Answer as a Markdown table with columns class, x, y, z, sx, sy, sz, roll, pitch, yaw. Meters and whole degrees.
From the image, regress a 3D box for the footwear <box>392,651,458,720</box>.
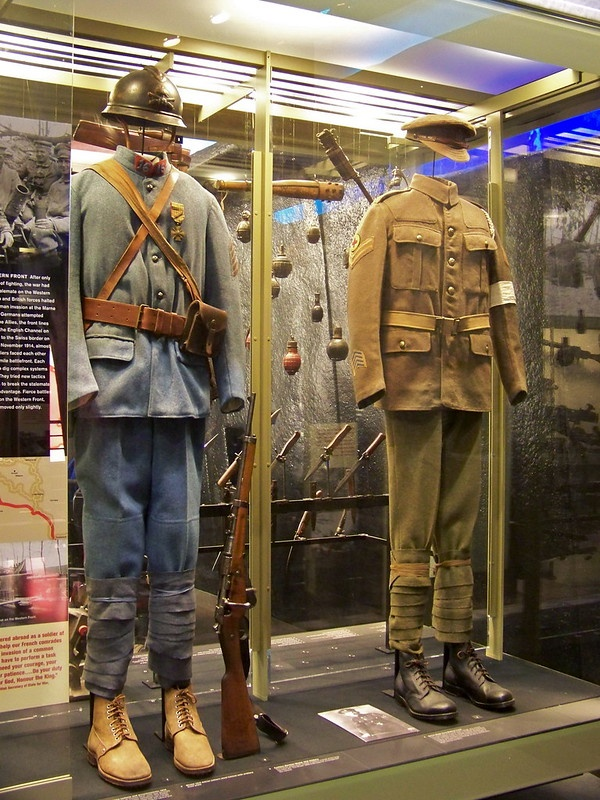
| class | x | y | z | sx | sy | sz | roll | pitch | yaw |
| --- | --- | --- | --- | --- | --- | --- | --- | --- | --- |
| footwear | 0.332 | 0.768 | 1.824 | 0.116 | 0.156 | 0.285 | 0 | -10 | -17 |

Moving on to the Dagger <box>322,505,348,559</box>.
| class | x | y | z | sx | sy | sz | roll | pitch | yaw |
| --- | --- | --- | --- | --- | --- | --- | --- | --- | --- |
| Dagger | 0.138 | 0.430 | 2.161 | 0.031 | 0.148 | 0.087 | 7 | -34 | 34 |

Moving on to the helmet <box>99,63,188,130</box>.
| class | x | y | z | sx | sy | sz | roll | pitch | yaw |
| --- | --- | --- | --- | --- | --- | --- | --- | --- | --- |
| helmet | -0.345 | -0.654 | 1.538 | 0.178 | 0.133 | 0.184 | 17 | 20 | 41 |

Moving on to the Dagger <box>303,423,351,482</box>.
| class | x | y | z | sx | sy | sz | roll | pitch | yaw |
| --- | --- | --- | --- | --- | --- | --- | --- | --- | --- |
| Dagger | 0.096 | 0.167 | 2.166 | 0.164 | 0.125 | 0.022 | 8 | -4 | -41 |

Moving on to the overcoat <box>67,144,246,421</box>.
| class | x | y | z | sx | sy | sz | roll | pitch | yaw |
| --- | --- | --- | --- | --- | --- | --- | --- | --- | --- |
| overcoat | -0.316 | -0.262 | 1.539 | 0.467 | 0.506 | 0.183 | 8 | -4 | -42 |

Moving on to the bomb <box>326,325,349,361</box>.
| class | x | y | z | sx | sy | sz | roll | pitch | yaw |
| --- | --- | --- | --- | --- | --- | --- | --- | --- | --- |
| bomb | 0.127 | -0.179 | 2.172 | 0.106 | 0.131 | 0.097 | 2 | 7 | 3 |

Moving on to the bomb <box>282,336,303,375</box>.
| class | x | y | z | sx | sy | sz | roll | pitch | yaw |
| --- | --- | --- | --- | --- | --- | --- | --- | --- | --- |
| bomb | -0.019 | -0.132 | 2.077 | 0.007 | 0.083 | 0.072 | 3 | -4 | 44 |

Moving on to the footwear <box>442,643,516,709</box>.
| class | x | y | z | sx | sy | sz | roll | pitch | yaw |
| --- | --- | --- | --- | --- | --- | --- | --- | --- | --- |
| footwear | 0.517 | 0.785 | 1.936 | 0.100 | 0.164 | 0.257 | 6 | -8 | -31 |

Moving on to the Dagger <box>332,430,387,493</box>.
| class | x | y | z | sx | sy | sz | roll | pitch | yaw |
| --- | --- | --- | --- | --- | --- | --- | --- | --- | --- |
| Dagger | 0.192 | 0.206 | 2.217 | 0.046 | 0.265 | 0.055 | 44 | -13 | -7 |

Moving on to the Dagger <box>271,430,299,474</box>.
| class | x | y | z | sx | sy | sz | roll | pitch | yaw |
| --- | --- | --- | --- | --- | --- | --- | --- | --- | --- |
| Dagger | -0.037 | 0.157 | 2.063 | 0.019 | 0.168 | 0.037 | 5 | -43 | 51 |

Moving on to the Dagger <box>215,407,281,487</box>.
| class | x | y | z | sx | sy | sz | roll | pitch | yaw |
| --- | --- | --- | --- | --- | --- | --- | --- | --- | --- |
| Dagger | -0.154 | 0.130 | 1.903 | 0.047 | 0.277 | 0.038 | 36 | -6 | 30 |

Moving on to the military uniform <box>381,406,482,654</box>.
| class | x | y | z | sx | sy | sz | roll | pitch | yaw |
| --- | --- | --- | --- | --- | --- | --- | --- | --- | --- |
| military uniform | 0.370 | 0.367 | 1.935 | 0.205 | 0.686 | 0.355 | 3 | -4 | 44 |

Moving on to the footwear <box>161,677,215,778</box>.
| class | x | y | z | sx | sy | sz | roll | pitch | yaw |
| --- | --- | --- | --- | --- | --- | --- | --- | --- | --- |
| footwear | -0.252 | 0.722 | 1.461 | 0.075 | 0.091 | 0.211 | -1 | -4 | -17 |

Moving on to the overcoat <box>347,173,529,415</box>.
| class | x | y | z | sx | sy | sz | roll | pitch | yaw |
| --- | --- | --- | --- | --- | --- | --- | --- | --- | --- |
| overcoat | 0.374 | -0.309 | 1.884 | 0.464 | 0.693 | 0.179 | 7 | -3 | -25 |

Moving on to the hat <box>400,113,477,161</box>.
| class | x | y | z | sx | sy | sz | roll | pitch | yaw |
| --- | --- | --- | --- | --- | --- | --- | --- | --- | --- |
| hat | 0.397 | -0.765 | 1.968 | 0.185 | 0.093 | 0.163 | 22 | 26 | 31 |

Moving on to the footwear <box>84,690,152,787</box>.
| class | x | y | z | sx | sy | sz | roll | pitch | yaw |
| --- | --- | --- | --- | --- | --- | --- | --- | --- | --- |
| footwear | -0.368 | 0.701 | 1.392 | 0.075 | 0.144 | 0.158 | 8 | -4 | -37 |
